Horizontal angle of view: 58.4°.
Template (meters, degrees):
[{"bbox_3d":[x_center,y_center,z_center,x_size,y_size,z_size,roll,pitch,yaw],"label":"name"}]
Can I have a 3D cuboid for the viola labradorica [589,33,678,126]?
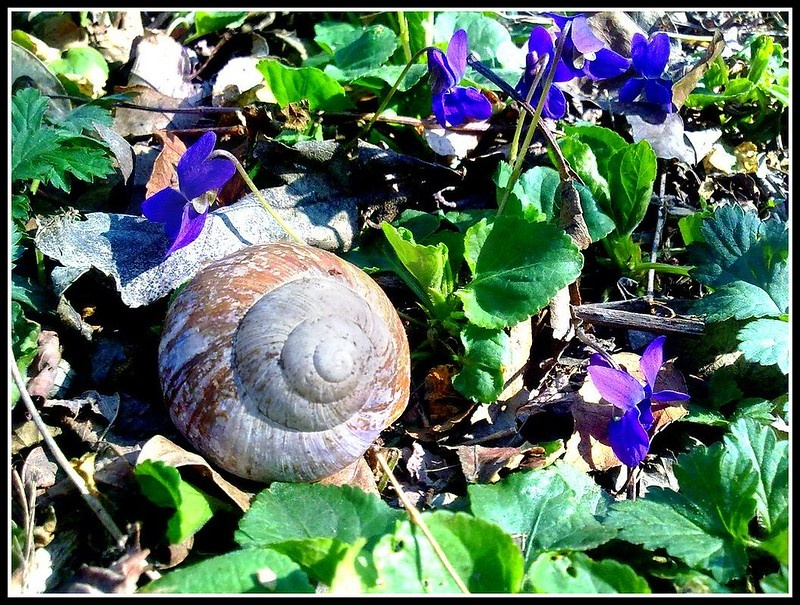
[{"bbox_3d":[0.847,-0.775,2.509,0.137,0.354,0.333,-23,19,-30],"label":"viola labradorica"}]

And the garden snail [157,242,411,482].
[{"bbox_3d":[-0.306,0.136,2.099,0.764,0.312,0.772,12,63,-12],"label":"garden snail"}]

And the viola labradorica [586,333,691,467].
[{"bbox_3d":[0.754,0.322,2.249,0.277,0.318,0.407,4,20,-5],"label":"viola labradorica"}]
